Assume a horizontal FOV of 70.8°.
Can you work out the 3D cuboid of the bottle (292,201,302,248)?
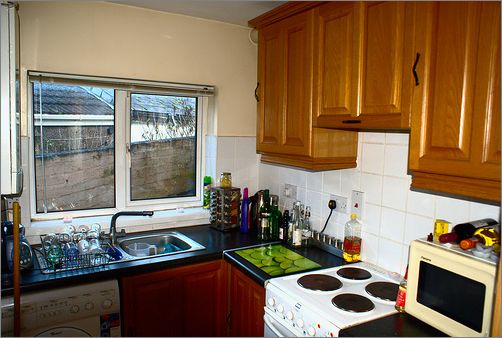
[{"bbox_3d":[0.377,0.426,2.861,0.082,0.346,0.220,3,12,9],"label":"bottle"}]

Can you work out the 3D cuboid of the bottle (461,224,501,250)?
[{"bbox_3d":[1.170,0.349,1.750,0.263,0.094,0.118,-6,14,-29],"label":"bottle"}]

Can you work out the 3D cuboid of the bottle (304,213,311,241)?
[{"bbox_3d":[0.452,0.447,2.847,0.061,0.221,0.118,3,12,8],"label":"bottle"}]

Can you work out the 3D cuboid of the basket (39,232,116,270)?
[{"bbox_3d":[-1.271,0.555,2.524,0.564,0.169,0.455,-3,13,-20],"label":"basket"}]

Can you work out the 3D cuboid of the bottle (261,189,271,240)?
[{"bbox_3d":[0.117,0.376,2.965,0.083,0.407,0.181,2,12,3],"label":"bottle"}]

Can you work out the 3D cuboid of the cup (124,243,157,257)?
[{"bbox_3d":[-0.897,0.662,2.883,0.163,0.109,0.125,4,4,-19],"label":"cup"}]

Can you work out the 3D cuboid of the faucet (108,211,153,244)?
[{"bbox_3d":[-0.925,0.434,2.773,0.345,0.216,0.210,-3,7,-20],"label":"faucet"}]

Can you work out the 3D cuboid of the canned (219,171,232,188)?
[{"bbox_3d":[-0.227,0.101,3.229,0.120,0.135,0.120,-3,8,-37],"label":"canned"}]

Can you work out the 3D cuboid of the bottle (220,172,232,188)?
[{"bbox_3d":[-0.228,0.101,3.230,0.120,0.135,0.119,-4,8,-38],"label":"bottle"}]

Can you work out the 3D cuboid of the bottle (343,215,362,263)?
[{"bbox_3d":[0.724,0.504,2.536,0.136,0.320,0.120,7,13,27],"label":"bottle"}]

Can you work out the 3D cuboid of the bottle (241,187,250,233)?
[{"bbox_3d":[-0.056,0.363,3.128,0.069,0.379,0.138,1,12,-1],"label":"bottle"}]

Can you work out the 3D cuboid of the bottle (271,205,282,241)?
[{"bbox_3d":[0.210,0.450,2.972,0.093,0.275,0.123,3,12,9],"label":"bottle"}]
